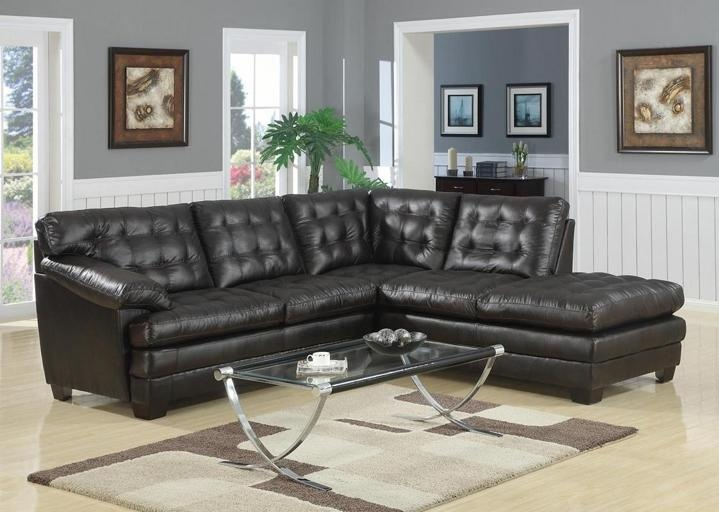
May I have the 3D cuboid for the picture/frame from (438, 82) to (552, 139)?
[{"bbox_3d":[2.117,-2.208,9.109,1.369,0.568,0.045,3,8,31],"label":"picture/frame"}]

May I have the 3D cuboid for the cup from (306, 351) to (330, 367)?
[{"bbox_3d":[-0.181,0.451,2.657,0.098,0.041,0.055,-1,2,-2],"label":"cup"}]

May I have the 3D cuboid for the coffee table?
[{"bbox_3d":[-0.037,0.493,2.697,1.156,0.335,0.758,-6,6,-44],"label":"coffee table"}]

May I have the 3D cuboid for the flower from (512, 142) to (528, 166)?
[{"bbox_3d":[2.341,-1.499,8.802,0.211,0.404,0.360,0,4,13],"label":"flower"}]
